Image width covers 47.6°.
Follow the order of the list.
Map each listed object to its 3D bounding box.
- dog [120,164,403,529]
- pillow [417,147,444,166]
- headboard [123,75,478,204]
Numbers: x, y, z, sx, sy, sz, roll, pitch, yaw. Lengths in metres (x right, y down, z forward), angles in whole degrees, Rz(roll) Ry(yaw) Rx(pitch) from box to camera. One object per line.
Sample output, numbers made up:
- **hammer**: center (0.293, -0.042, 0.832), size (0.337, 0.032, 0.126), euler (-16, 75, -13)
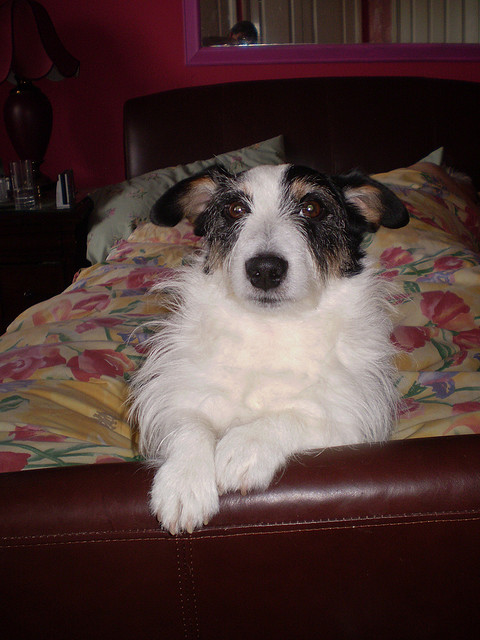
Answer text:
- **dog**: center (0.041, -0.017, 1.294), size (0.598, 0.488, 0.930), euler (4, 29, 9)
- **pillow**: center (1.220, -1.026, 3.388), size (0.081, 0.027, 0.249), euler (18, 40, 19)
- **headboard**: center (0.466, -1.143, 3.355), size (2.655, 0.635, 0.937), euler (-1, 23, -7)
